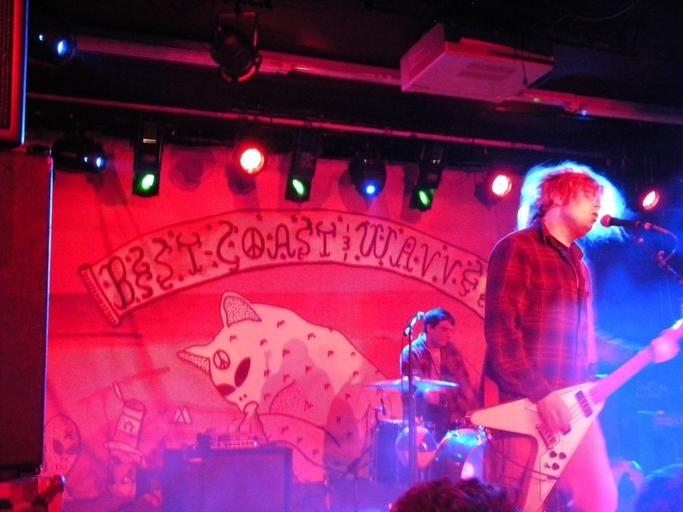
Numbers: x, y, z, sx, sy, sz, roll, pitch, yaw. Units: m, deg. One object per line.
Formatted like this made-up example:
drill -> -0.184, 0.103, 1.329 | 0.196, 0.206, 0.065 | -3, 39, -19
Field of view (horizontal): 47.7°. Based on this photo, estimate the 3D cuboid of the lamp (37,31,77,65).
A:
lamp -> -2.208, -1.623, 6.062 | 0.241, 0.211, 0.197 | 21, 16, 33

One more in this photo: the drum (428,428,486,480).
drum -> 0.959, 1.494, 6.090 | 0.354, 0.380, 0.379 | 15, -21, 6

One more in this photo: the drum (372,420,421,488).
drum -> 0.441, 1.814, 7.180 | 0.363, 0.601, 0.348 | 1, -17, 0

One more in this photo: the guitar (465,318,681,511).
guitar -> 1.575, 1.083, 5.131 | 1.485, 0.776, 0.140 | -39, 13, 1
